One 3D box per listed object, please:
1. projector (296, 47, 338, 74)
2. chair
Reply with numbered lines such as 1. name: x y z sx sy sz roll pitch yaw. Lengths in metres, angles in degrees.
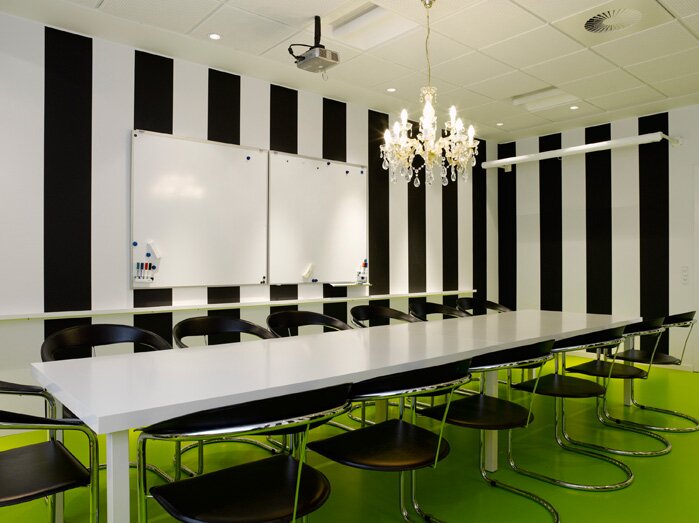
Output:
1. projector: -0.293 -1.861 5.065 0.259 0.169 0.350 -5 8 -42
2. chair: -0.072 0.858 3.731 3.508 0.596 1.039 -4 7 -32
